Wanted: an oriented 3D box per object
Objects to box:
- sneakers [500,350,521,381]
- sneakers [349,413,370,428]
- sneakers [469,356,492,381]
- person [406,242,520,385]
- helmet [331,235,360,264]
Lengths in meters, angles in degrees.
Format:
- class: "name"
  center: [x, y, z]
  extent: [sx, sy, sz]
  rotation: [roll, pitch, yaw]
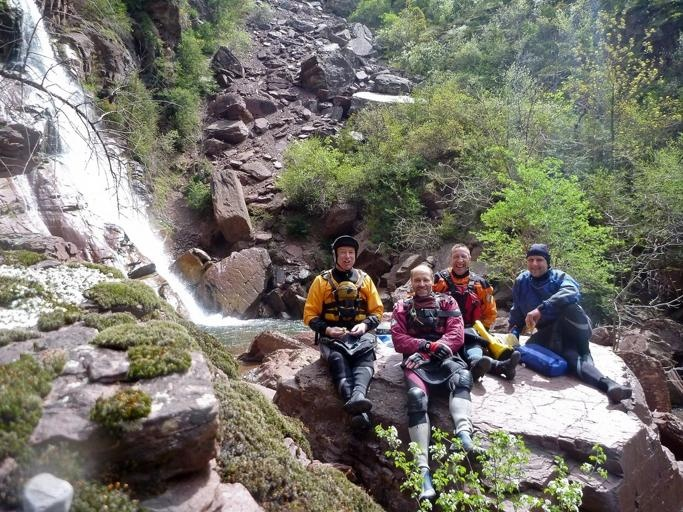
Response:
- class: "sneakers"
  center: [2.467, 1.583, 7.338]
  extent: [0.190, 0.586, 0.243]
  rotation: [-2, 10, -22]
- class: "sneakers"
  center: [0.244, 2.251, 6.836]
  extent: [0.250, 0.163, 0.253]
  rotation: [3, -9, -1]
- class: "sneakers"
  center: [1.948, 1.589, 7.110]
  extent: [0.125, 0.384, 0.232]
  rotation: [7, 19, -13]
- class: "person"
  center: [2.033, 0.881, 7.875]
  extent: [1.051, 1.278, 2.142]
  rotation: [-9, 43, -4]
- class: "helmet"
  center: [0.055, -0.213, 8.051]
  extent: [0.428, 0.488, 0.430]
  rotation: [3, 45, -4]
